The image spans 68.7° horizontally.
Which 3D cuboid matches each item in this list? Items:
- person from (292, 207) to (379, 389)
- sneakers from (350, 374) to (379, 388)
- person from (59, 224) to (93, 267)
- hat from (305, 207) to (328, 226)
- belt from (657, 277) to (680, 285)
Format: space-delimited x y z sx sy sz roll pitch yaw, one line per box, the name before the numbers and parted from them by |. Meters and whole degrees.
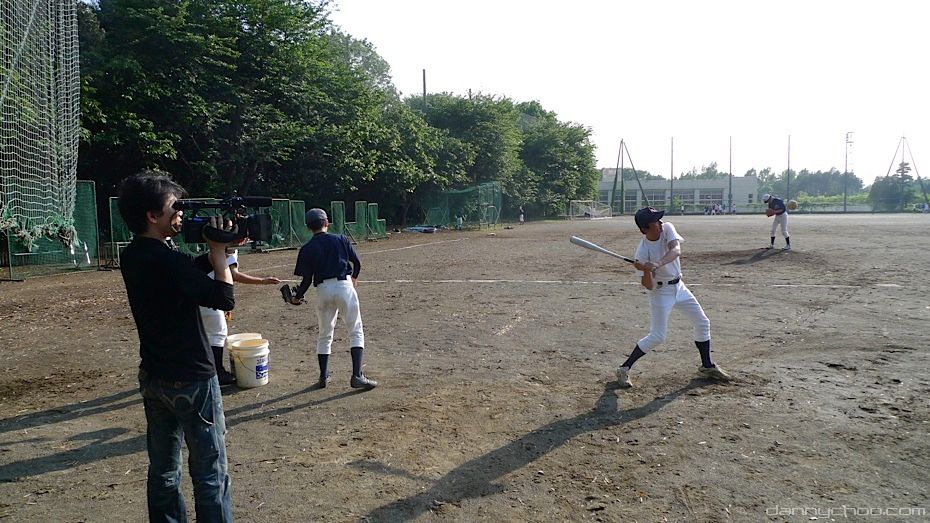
person | -2.567 0.738 13.017 1.386 3.415 0.847 -3 8 -8
sneakers | -1.933 2.317 13.002 0.584 0.238 0.198 0 7 -4
person | -13.360 -0.571 23.340 0.825 0.846 2.284 -8 -21 -11
hat | -2.882 -0.877 13.253 0.374 0.229 0.465 2 21 -5
belt | 3.901 0.404 12.990 0.446 0.157 0.103 -2 7 -11
